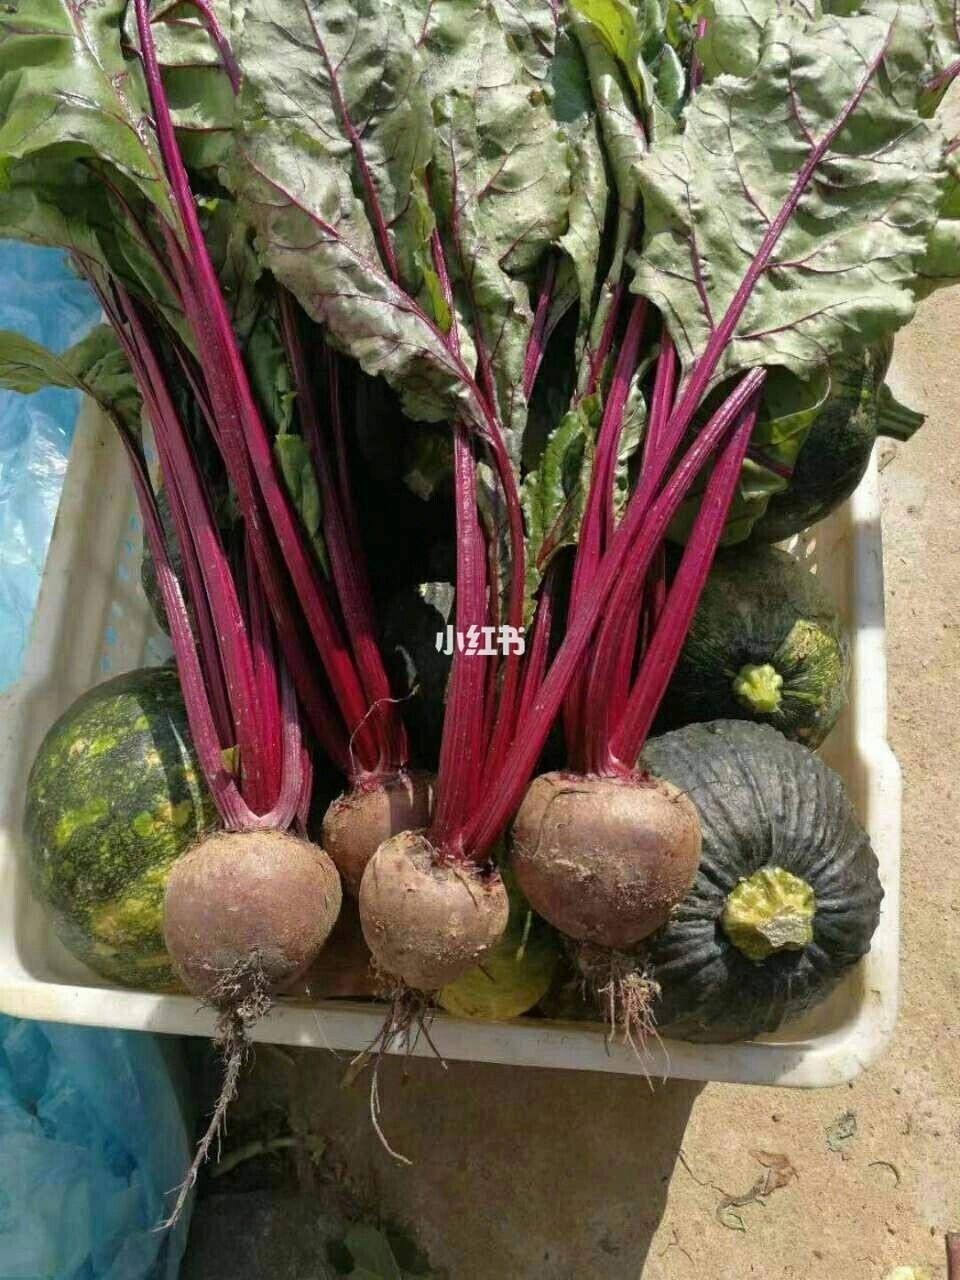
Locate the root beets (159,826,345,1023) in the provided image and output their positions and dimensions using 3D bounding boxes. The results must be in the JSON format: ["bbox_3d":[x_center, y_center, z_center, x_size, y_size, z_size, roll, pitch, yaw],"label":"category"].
[{"bbox_3d":[-0.245,0.298,1.261,0.198,0.200,0.198,0,71,-12],"label":"root beets"}]

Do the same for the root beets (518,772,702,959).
[{"bbox_3d":[0.128,0.210,1.225,0.190,0.132,0.156,7,49,0],"label":"root beets"}]

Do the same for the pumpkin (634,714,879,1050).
[{"bbox_3d":[0.298,0.281,1.320,0.246,0.242,0.506,11,31,17],"label":"pumpkin"}]
